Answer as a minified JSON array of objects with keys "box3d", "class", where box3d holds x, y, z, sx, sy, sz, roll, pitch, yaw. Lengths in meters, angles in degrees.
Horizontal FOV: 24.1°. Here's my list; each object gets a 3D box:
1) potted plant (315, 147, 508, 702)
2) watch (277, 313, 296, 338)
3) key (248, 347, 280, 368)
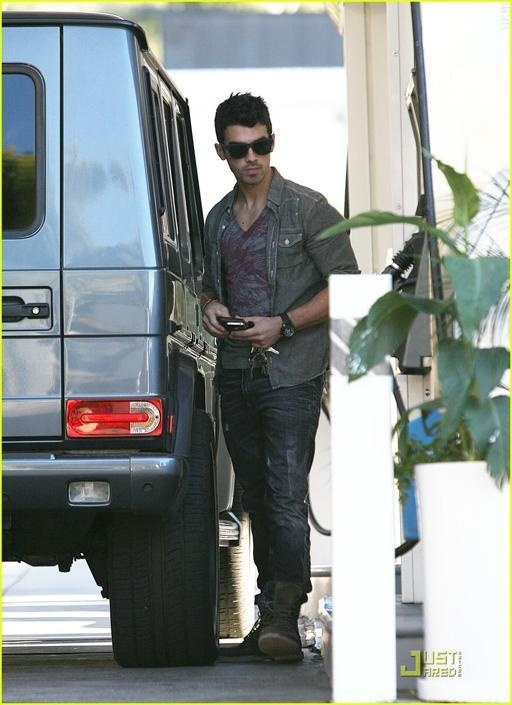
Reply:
[{"box3d":[0.408,0.199,2.930,0.484,1.175,0.552,-1,0,4],"class":"potted plant"},{"box3d":[0.107,-0.097,4.264,0.049,0.083,0.083,-13,16,-9],"class":"watch"},{"box3d":[0.024,0.019,4.348,0.061,0.089,0.077,7,0,33],"class":"key"}]
